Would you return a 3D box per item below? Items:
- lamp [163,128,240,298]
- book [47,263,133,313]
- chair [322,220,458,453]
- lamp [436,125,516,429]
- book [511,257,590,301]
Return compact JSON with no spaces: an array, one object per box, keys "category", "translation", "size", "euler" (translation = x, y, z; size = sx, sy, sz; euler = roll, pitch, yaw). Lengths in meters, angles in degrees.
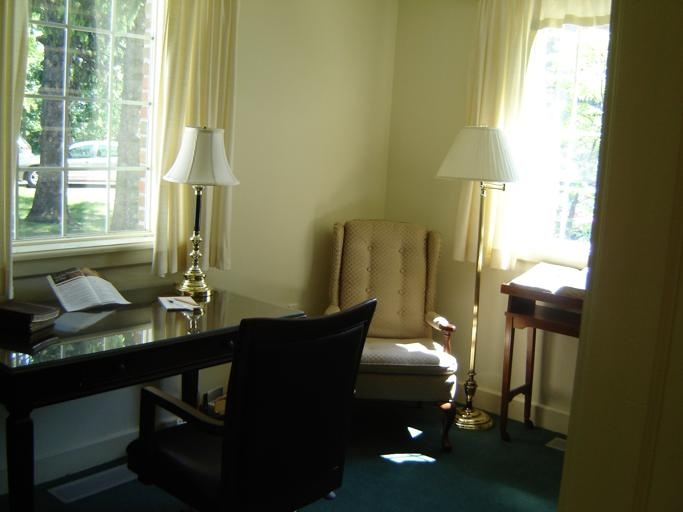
[{"category":"lamp","translation":[-0.692,-0.210,2.686],"size":[0.340,0.809,0.396],"euler":[0,10,-18]},{"category":"book","translation":[-1.104,0.125,2.383],"size":[0.267,0.040,0.293],"euler":[-3,36,-43]},{"category":"chair","translation":[0.240,0.425,3.297],"size":[0.880,1.247,0.954],"euler":[0,5,-21]},{"category":"lamp","translation":[0.785,0.151,3.286],"size":[0.413,1.819,0.533],"euler":[8,11,24]},{"category":"book","translation":[1.174,0.126,3.076],"size":[0.388,0.098,0.513],"euler":[9,10,28]}]
